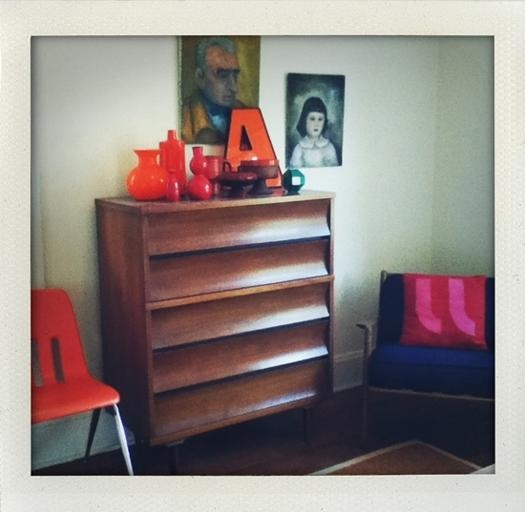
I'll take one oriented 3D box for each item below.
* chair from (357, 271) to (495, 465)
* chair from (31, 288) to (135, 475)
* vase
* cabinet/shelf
[{"bbox_3d":[0.699,0.418,2.307,0.508,0.716,0.498,0,-1,22],"label":"chair"},{"bbox_3d":[-0.663,0.477,2.038,0.337,0.717,0.418,-7,11,-24],"label":"chair"},{"bbox_3d":[-0.334,-0.345,2.139,0.367,0.258,0.336,-5,11,-14],"label":"vase"},{"bbox_3d":[-0.158,0.177,2.318,0.842,0.877,0.506,-6,11,-25],"label":"cabinet/shelf"}]
